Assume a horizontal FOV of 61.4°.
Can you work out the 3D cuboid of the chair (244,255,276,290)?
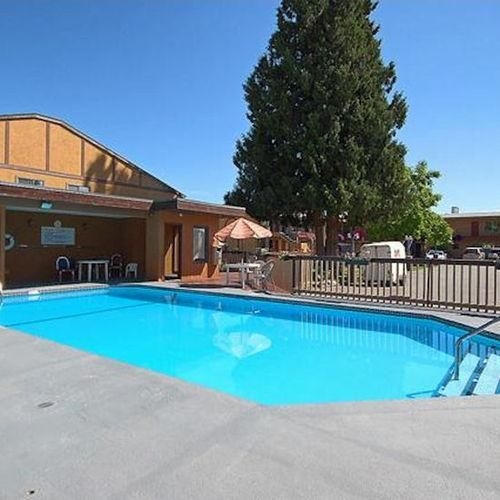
[{"bbox_3d":[0.425,0.735,13.217,0.880,1.581,0.858,3,-2,-31],"label":"chair"}]

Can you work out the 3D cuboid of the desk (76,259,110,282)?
[{"bbox_3d":[-5.944,0.767,15.875,0.798,0.730,0.962,1,-2,14],"label":"desk"}]

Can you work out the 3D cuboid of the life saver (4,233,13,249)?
[{"bbox_3d":[-8.243,-0.297,14.339,0.103,0.556,0.346,0,-1,22],"label":"life saver"}]

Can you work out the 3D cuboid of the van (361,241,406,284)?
[{"bbox_3d":[4.512,0.787,14.193,1.387,1.941,2.694,1,4,19],"label":"van"}]
